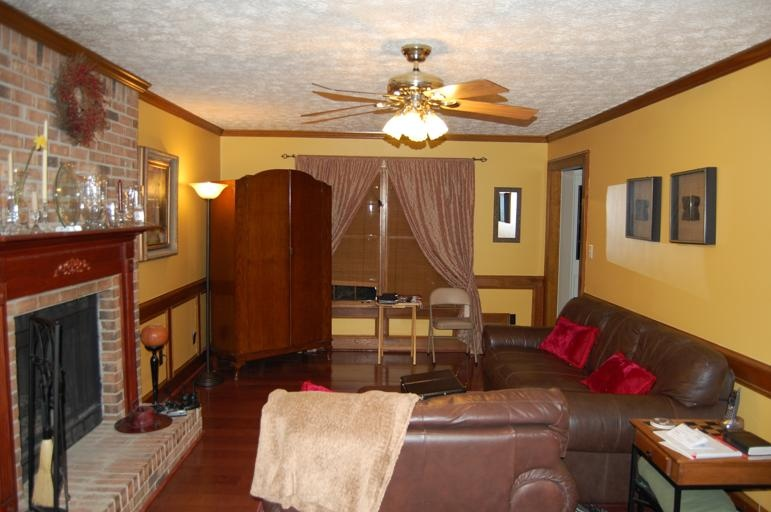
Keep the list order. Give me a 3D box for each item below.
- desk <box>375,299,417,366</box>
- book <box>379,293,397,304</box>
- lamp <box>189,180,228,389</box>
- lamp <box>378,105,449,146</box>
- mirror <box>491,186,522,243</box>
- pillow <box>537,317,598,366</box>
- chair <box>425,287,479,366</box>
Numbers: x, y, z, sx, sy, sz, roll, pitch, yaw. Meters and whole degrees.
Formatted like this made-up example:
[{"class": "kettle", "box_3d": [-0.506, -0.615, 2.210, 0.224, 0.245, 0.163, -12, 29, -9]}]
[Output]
[{"class": "desk", "box_3d": [0.179, 1.057, 7.620, 0.643, 0.859, 0.748, 2, 3, 10]}, {"class": "book", "box_3d": [0.040, 0.560, 7.300, 0.253, 0.097, 0.140, 1, 10, -4]}, {"class": "lamp", "box_3d": [-2.067, 0.351, 6.537, 0.545, 2.424, 0.527, 0, -6, -20]}, {"class": "lamp", "box_3d": [0.154, -0.958, 4.312, 0.571, 0.230, 0.524, -2, 5, -24]}, {"class": "mirror", "box_3d": [1.717, -0.565, 7.850, 0.423, 0.765, 0.035, -1, 4, -20]}, {"class": "pillow", "box_3d": [1.878, 0.889, 5.703, 0.137, 0.371, 0.511, 32, -3, -16]}, {"class": "chair", "box_3d": [0.878, 0.928, 7.465, 0.606, 0.918, 0.793, 2, 11, 5]}]
